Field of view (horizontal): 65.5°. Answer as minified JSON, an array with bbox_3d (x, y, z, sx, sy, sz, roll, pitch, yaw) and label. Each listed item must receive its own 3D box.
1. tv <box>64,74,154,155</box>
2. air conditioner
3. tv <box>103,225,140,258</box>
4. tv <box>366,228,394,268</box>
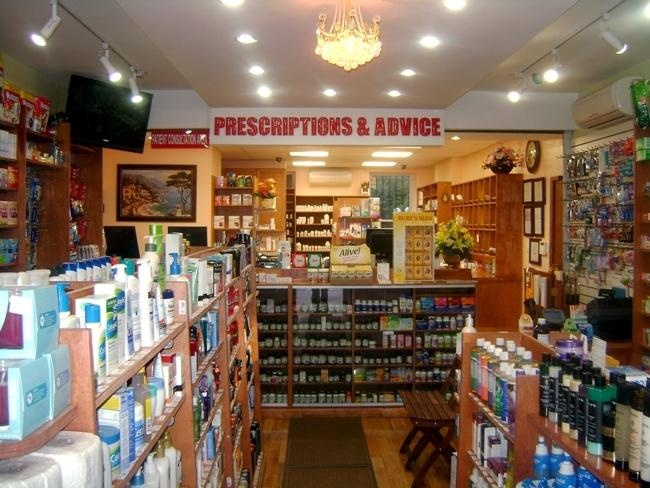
[{"bbox_3d":[-2.784,-1.661,6.460,0.140,0.811,1.053,6,1,34],"label":"tv"},{"bbox_3d":[3.486,-1.715,6.333,0.295,0.459,0.964,-6,1,-2],"label":"air conditioner"},{"bbox_3d":[-2.514,-0.015,6.246,0.371,0.409,0.305,1,3,12],"label":"tv"},{"bbox_3d":[0.787,0.078,7.182,0.495,0.569,0.273,0,0,1],"label":"tv"}]
